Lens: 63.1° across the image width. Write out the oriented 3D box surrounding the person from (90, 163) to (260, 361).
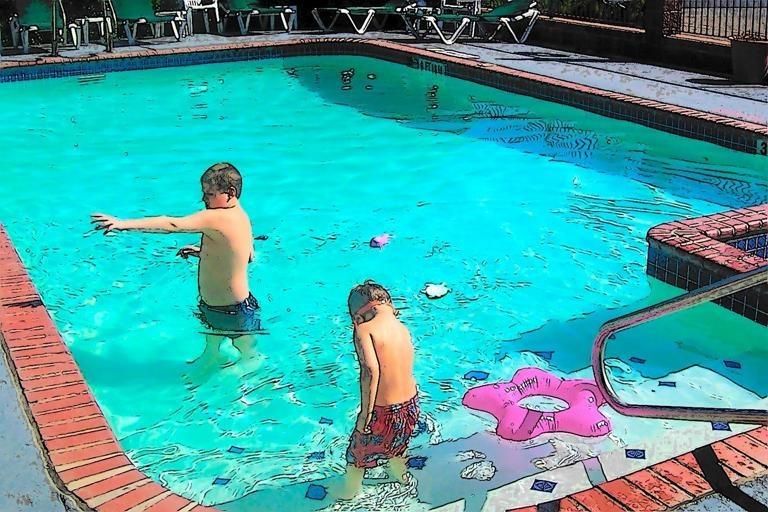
[{"bbox_3d":[-1.215,0.141,4.122,0.774,1.484,0.399,-15,27,-26],"label":"person"}]
